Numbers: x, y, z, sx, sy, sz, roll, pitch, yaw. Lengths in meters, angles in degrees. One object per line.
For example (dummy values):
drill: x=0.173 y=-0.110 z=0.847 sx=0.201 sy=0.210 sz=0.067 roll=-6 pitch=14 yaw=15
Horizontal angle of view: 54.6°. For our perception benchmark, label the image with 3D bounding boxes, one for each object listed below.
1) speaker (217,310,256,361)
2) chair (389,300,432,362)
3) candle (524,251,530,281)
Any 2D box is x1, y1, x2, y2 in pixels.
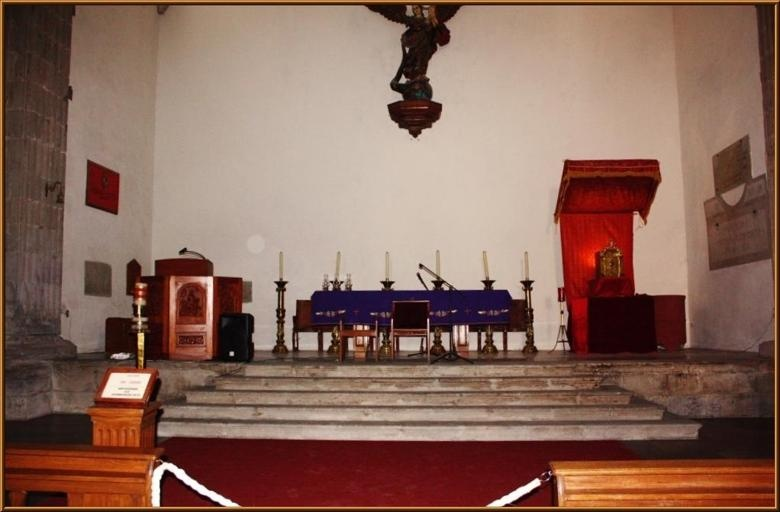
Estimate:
speaker: x=-2.644 y=1.324 z=12.194 sx=0.714 sy=0.984 sz=0.644 roll=-3 pitch=-5 yaw=10
chair: x=0.386 y=1.194 z=12.888 sx=0.880 sy=1.258 sz=0.907 roll=0 pitch=-3 yaw=4
candle: x=2.708 y=0.186 z=15.021 sx=0.103 sy=0.552 sz=0.168 roll=-4 pitch=-9 yaw=22
